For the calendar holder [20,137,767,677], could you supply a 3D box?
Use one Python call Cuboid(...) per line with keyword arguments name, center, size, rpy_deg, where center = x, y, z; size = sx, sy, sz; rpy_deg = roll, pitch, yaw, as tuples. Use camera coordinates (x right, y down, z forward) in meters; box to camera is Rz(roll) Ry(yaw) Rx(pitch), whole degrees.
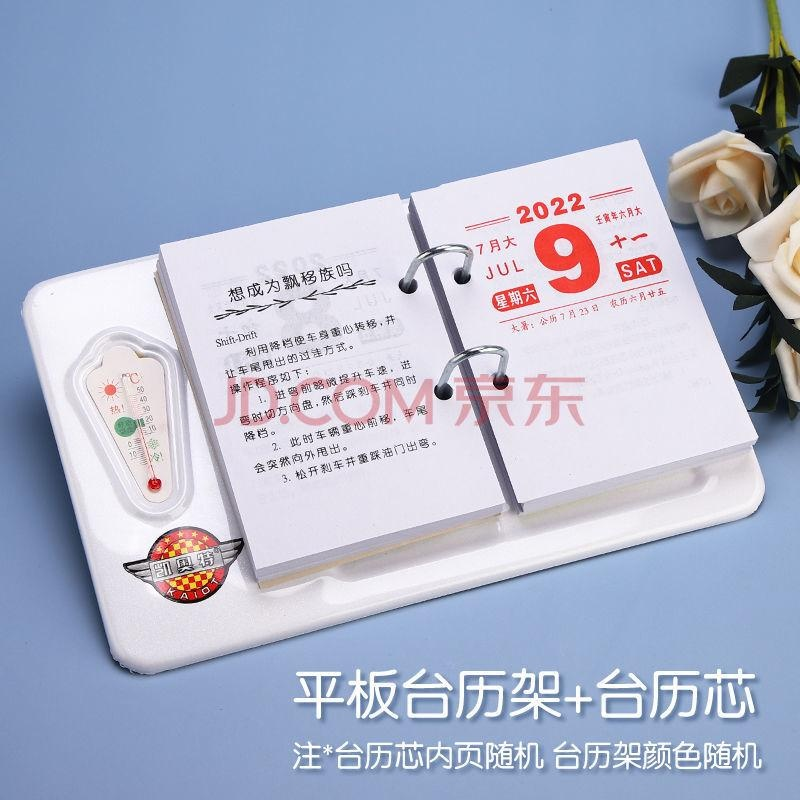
Cuboid(name="calendar holder", center=(-0.005, -0.014, 0.834), size=(0.677, 0.298, 0.338), rpy_deg=(-17, 46, -3))
